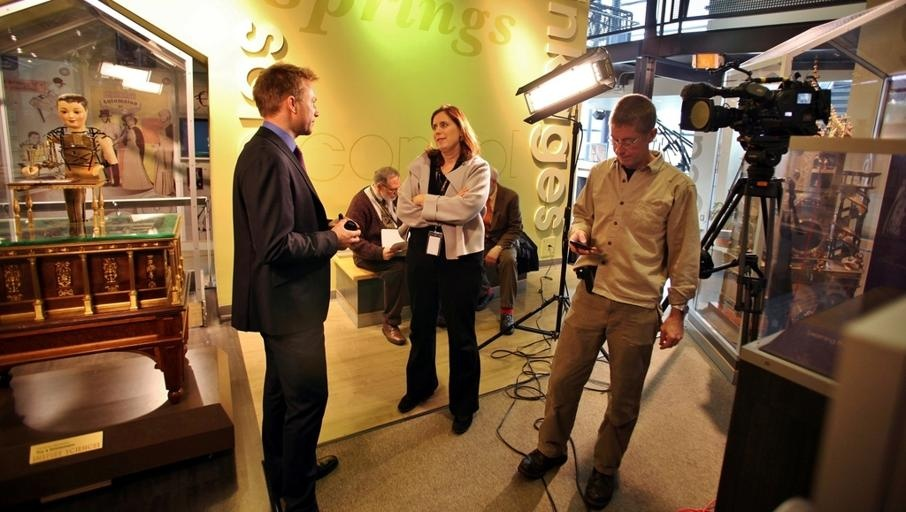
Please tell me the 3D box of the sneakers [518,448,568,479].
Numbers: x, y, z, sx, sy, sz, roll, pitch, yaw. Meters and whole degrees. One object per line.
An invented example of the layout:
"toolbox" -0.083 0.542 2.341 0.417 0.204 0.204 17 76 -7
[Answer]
"sneakers" 0.639 1.522 4.264 0.381 0.161 0.163 -6 28 -20

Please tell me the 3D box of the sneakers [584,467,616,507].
"sneakers" 1.065 1.670 4.119 0.137 0.135 0.342 4 0 26

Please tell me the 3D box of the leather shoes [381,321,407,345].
"leather shoes" -0.587 0.771 5.670 0.125 0.117 0.333 -3 8 -27

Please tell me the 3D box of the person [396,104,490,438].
"person" -0.098 0.109 4.494 0.696 2.512 0.558 3 13 12

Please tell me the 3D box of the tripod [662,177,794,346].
"tripod" 2.410 -0.105 4.927 1.125 1.480 1.070 -16 18 -36

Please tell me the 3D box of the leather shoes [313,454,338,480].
"leather shoes" -0.935 1.520 4.189 0.096 0.100 0.243 29 45 15

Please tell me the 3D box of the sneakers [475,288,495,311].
"sneakers" 0.349 0.461 6.136 0.155 0.174 0.412 4 12 21

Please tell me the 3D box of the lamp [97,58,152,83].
"lamp" -3.332 -1.876 5.801 0.444 0.177 0.072 -4 14 -20

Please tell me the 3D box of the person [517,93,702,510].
"person" 1.146 0.338 3.984 0.983 2.851 0.657 6 14 23

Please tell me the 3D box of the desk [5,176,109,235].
"desk" -3.138 -0.396 4.501 0.619 0.406 0.354 -1 11 -9
